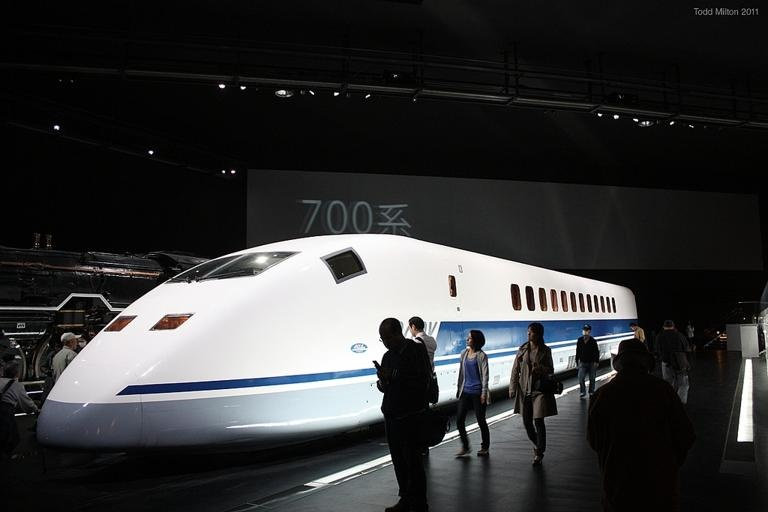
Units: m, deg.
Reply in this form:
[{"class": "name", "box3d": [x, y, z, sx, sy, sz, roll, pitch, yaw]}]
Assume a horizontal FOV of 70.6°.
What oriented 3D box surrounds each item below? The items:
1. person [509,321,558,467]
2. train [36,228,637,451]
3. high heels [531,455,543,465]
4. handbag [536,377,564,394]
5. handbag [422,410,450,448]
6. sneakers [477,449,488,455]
[{"class": "person", "box3d": [2.434, 2.183, 8.774, 0.490, 2.190, 0.678, 6, -7, -39]}, {"class": "train", "box3d": [1.137, 1.989, 13.186, 3.418, 3.592, 15.251, -19, -20, 41]}, {"class": "high heels", "box3d": [2.441, 3.196, 8.598, 0.151, 0.155, 0.278, 0, -6, 15]}, {"class": "handbag", "box3d": [2.680, 2.063, 8.617, 0.453, 0.275, 0.261, 5, -7, -34]}, {"class": "handbag", "box3d": [0.747, 2.244, 7.275, 0.487, 0.454, 0.376, 1, -17, -3]}, {"class": "sneakers", "box3d": [1.642, 3.241, 8.980, 0.067, 0.073, 0.186, -10, -20, 34]}]
